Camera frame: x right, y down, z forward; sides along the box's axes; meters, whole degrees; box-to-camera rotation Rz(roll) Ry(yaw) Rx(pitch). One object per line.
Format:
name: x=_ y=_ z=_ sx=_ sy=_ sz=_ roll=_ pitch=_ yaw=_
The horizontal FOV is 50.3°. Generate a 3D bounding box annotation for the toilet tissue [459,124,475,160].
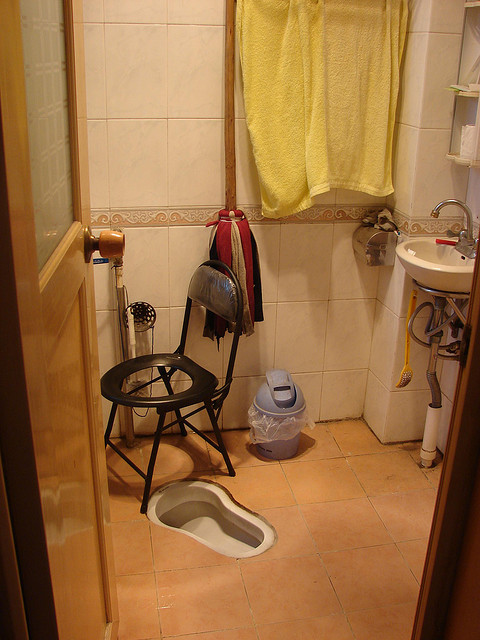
toilet tissue: x=0.908 y=-0.704 z=2.037 sx=0.046 sy=0.122 sz=0.183 roll=8 pitch=24 yaw=19

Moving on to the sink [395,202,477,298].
sink: x=0.821 y=-0.296 z=2.105 sx=0.204 sy=0.299 sz=0.379 roll=-3 pitch=26 yaw=0

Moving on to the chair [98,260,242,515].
chair: x=-0.312 y=0.244 z=2.232 sx=0.532 sy=1.021 sz=0.541 roll=-2 pitch=19 yaw=-25

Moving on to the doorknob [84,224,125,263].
doorknob: x=-0.258 y=-0.138 z=0.977 sx=0.070 sy=0.081 sz=0.061 roll=0 pitch=-2 yaw=2

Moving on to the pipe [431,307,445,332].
pipe: x=0.849 y=-0.004 z=2.184 sx=0.041 sy=0.114 sz=0.102 roll=10 pitch=23 yaw=22
